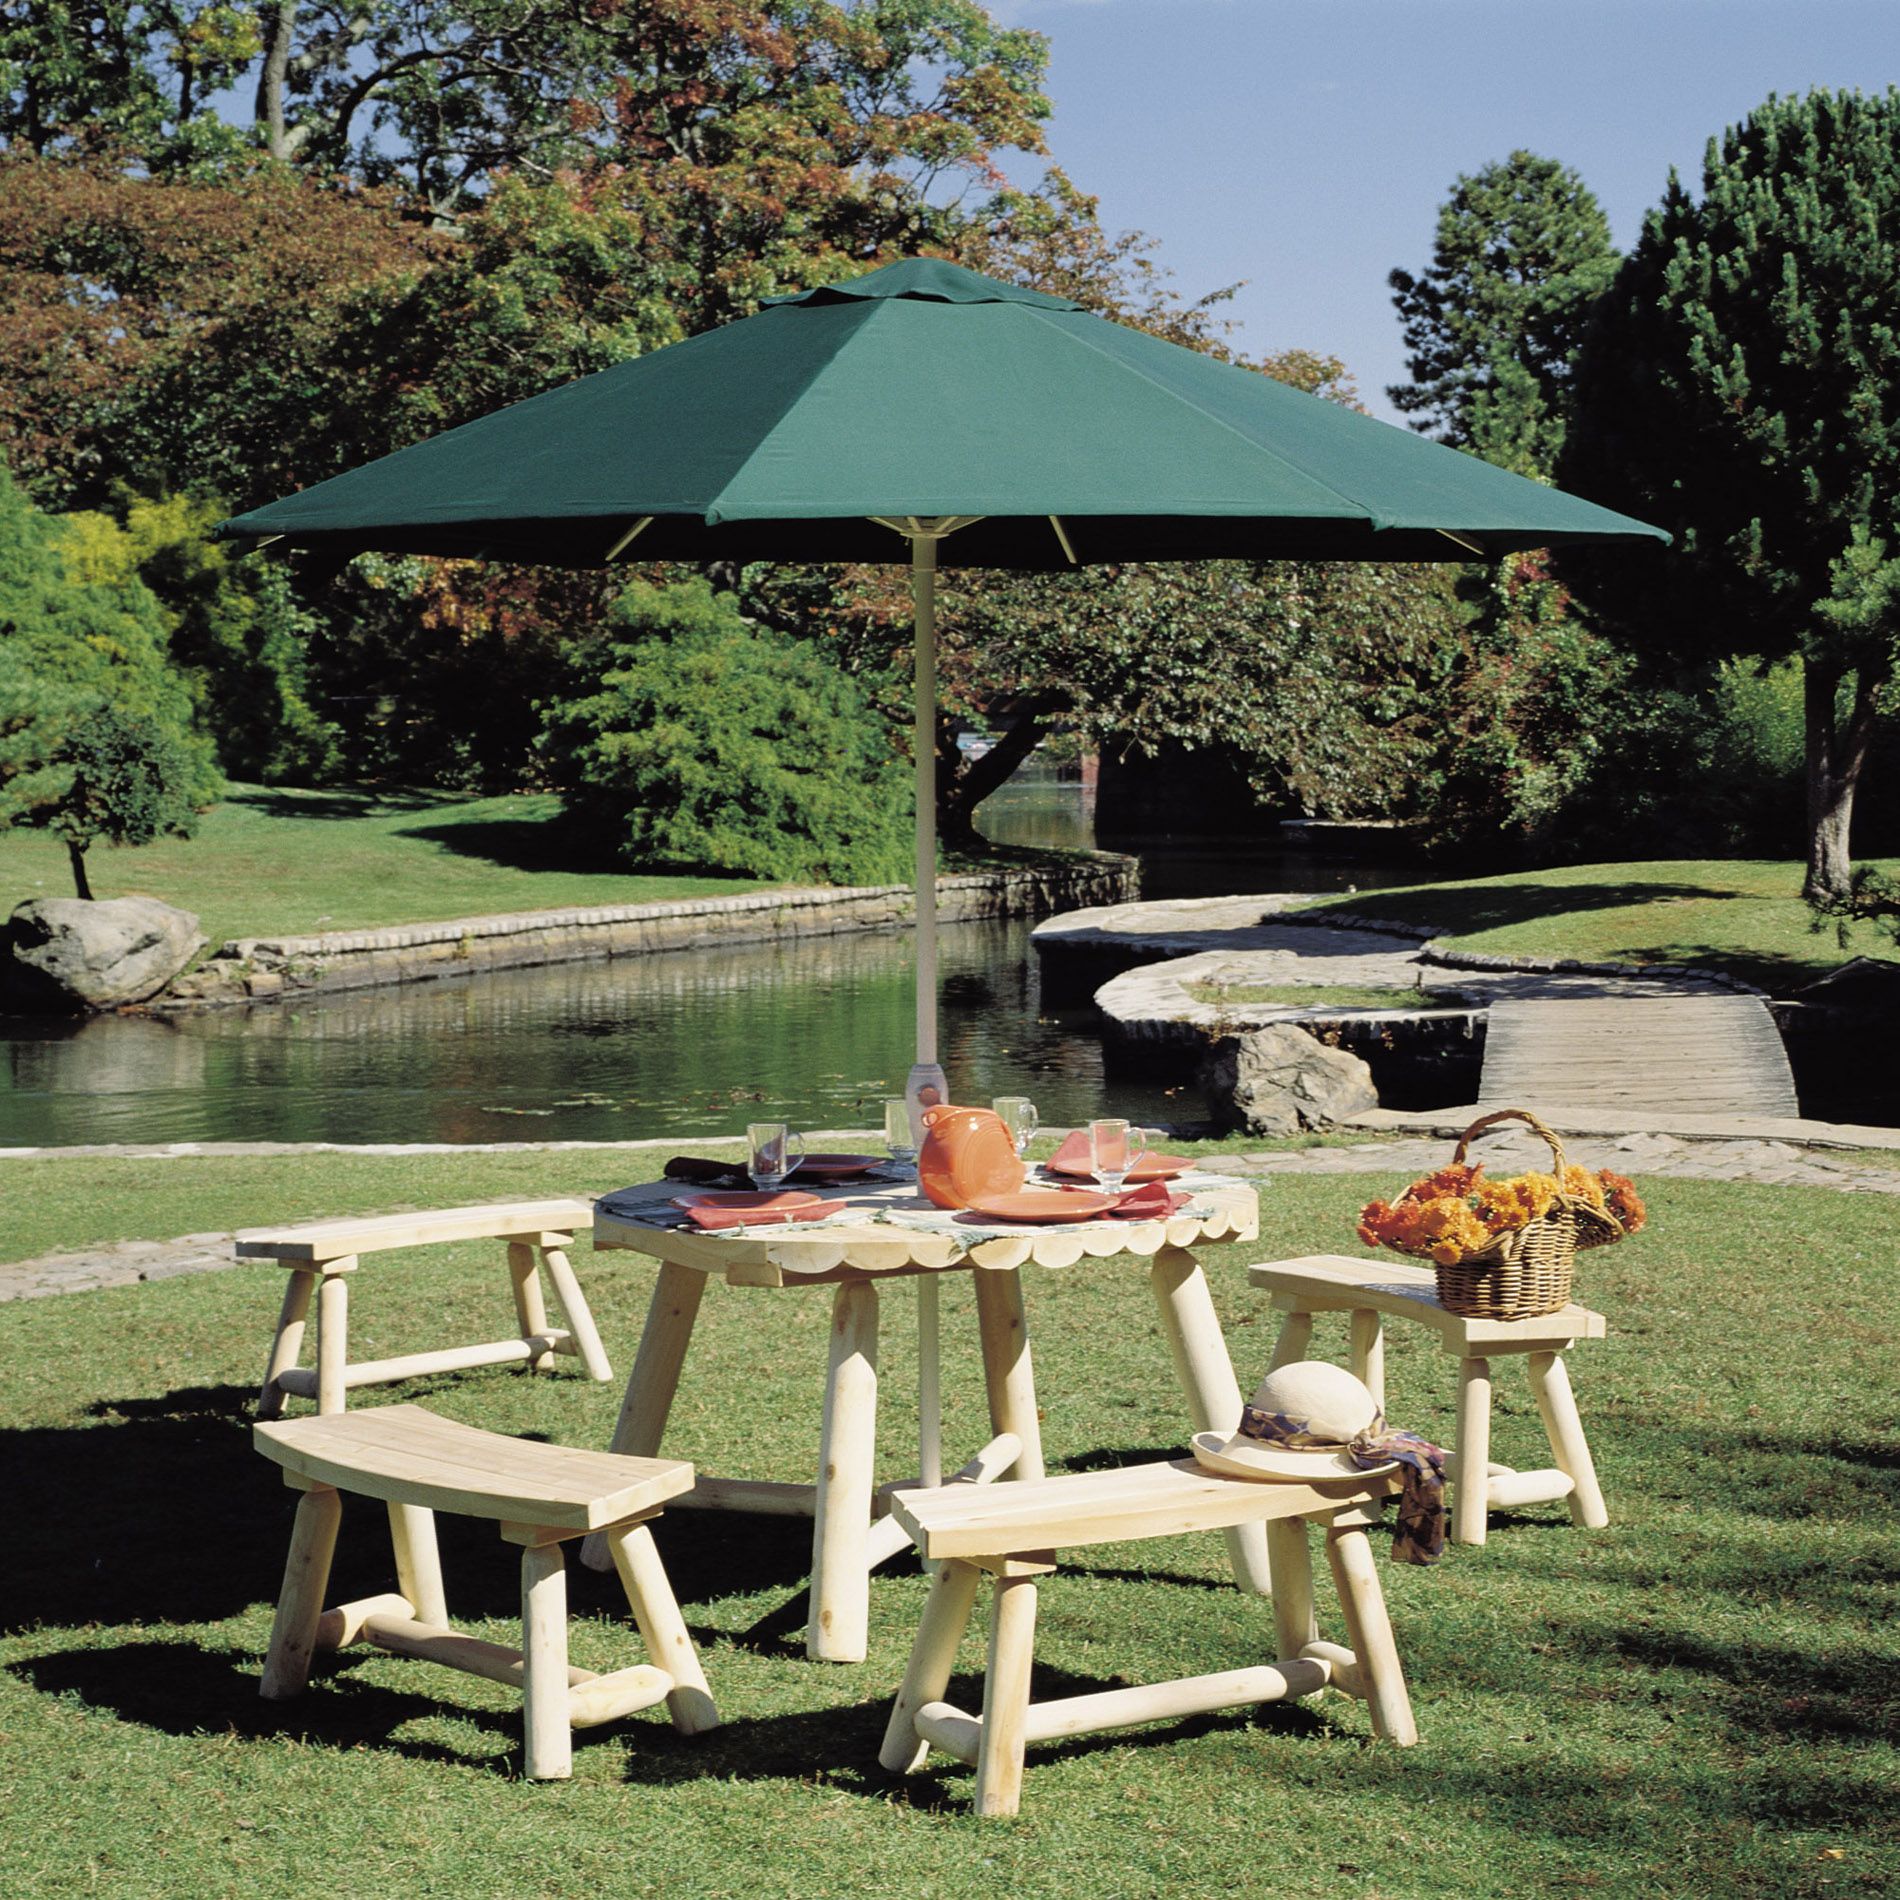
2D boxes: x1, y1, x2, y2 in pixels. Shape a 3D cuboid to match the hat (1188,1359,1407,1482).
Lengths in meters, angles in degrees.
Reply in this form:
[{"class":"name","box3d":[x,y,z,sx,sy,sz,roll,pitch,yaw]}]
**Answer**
[{"class":"hat","box3d":[0.631,0.861,4.206,0.328,0.146,0.357,4,7,42]}]
